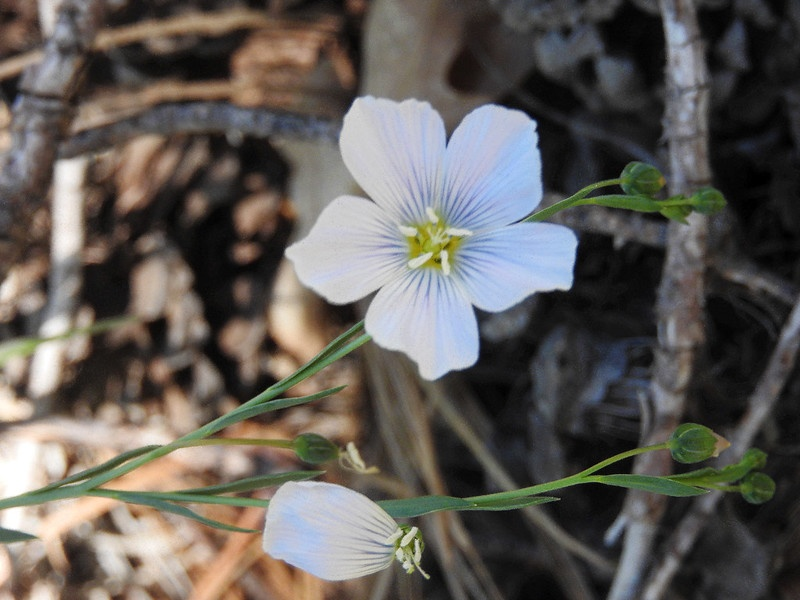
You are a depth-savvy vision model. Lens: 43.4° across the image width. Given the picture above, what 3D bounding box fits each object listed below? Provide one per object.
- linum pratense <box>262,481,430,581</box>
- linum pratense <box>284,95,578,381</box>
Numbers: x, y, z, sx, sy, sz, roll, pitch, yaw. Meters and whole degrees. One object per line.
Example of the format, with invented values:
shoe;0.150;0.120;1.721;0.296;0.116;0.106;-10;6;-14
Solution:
linum pratense;-0.069;0.250;1.140;0.178;0.095;0.093;9;95;-14
linum pratense;0.053;-0.075;1.076;0.280;0.154;0.277;21;62;12
